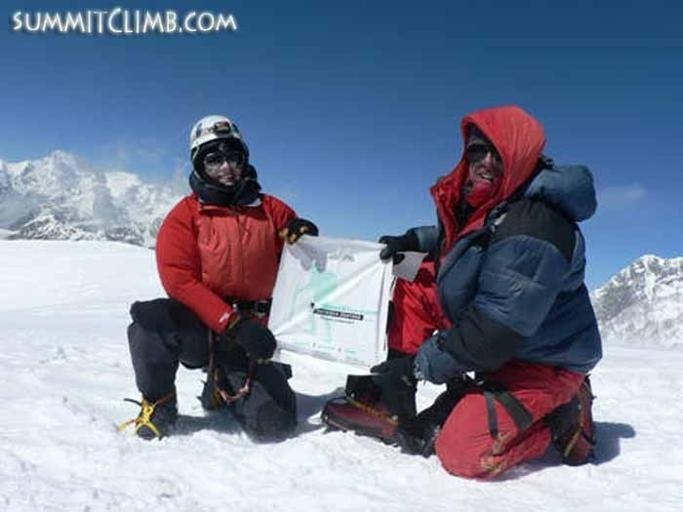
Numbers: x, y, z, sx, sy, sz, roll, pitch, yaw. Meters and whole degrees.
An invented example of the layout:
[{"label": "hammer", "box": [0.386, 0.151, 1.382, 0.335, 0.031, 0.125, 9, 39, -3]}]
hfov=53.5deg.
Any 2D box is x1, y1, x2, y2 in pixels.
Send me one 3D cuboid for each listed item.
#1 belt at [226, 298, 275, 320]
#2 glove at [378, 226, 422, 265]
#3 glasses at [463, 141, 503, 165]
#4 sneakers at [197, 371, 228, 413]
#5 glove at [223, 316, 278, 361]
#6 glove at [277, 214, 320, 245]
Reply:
[{"label": "belt", "box": [-0.816, 0.477, 6.114, 0.275, 0.123, 0.197, 2, -2, 4]}, {"label": "glove", "box": [0.507, -0.098, 6.143, 0.220, 0.247, 0.800, 4, 7, 32]}, {"label": "glasses", "box": [1.170, -0.871, 5.728, 0.180, 0.083, 0.217, 12, 0, -17]}, {"label": "sneakers", "box": [-1.208, 1.291, 6.239, 0.179, 0.456, 0.216, -17, -16, 24]}, {"label": "glove", "box": [-0.741, 0.688, 5.854, 0.330, 0.431, 0.195, -32, 20, 32]}, {"label": "glove", "box": [-0.397, -0.205, 5.954, 0.333, 0.136, 0.272, -27, 47, -29]}]
